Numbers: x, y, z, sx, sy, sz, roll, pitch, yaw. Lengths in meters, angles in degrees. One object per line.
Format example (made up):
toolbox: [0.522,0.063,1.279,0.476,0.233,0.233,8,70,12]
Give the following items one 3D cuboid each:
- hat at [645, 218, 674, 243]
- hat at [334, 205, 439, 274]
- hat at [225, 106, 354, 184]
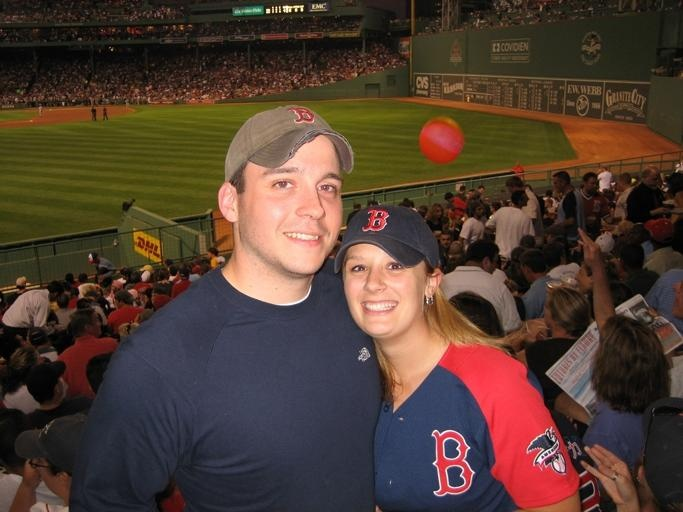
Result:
hat: [4.467,-0.356,7.754,0.288,0.219,0.406,-2,29,6]
hat: [0.199,-0.072,2.869,0.529,0.345,0.722,-5,-8,12]
hat: [-0.272,-0.498,2.523,0.385,0.252,0.492,-6,-3,-43]
